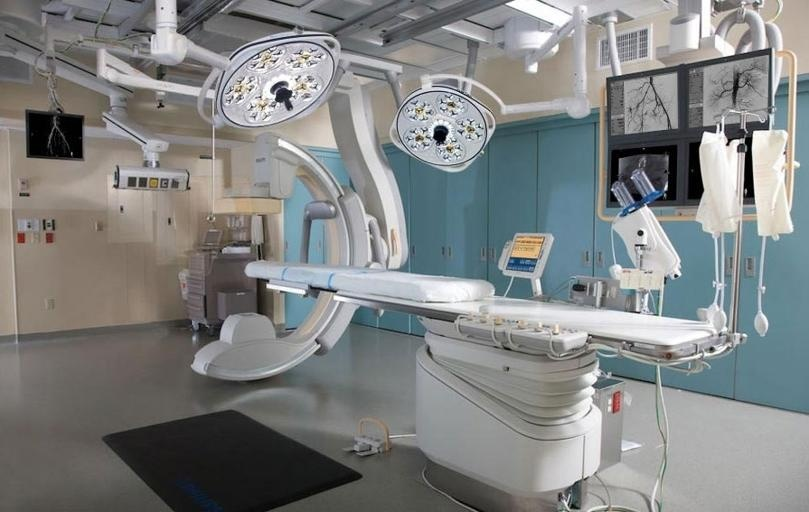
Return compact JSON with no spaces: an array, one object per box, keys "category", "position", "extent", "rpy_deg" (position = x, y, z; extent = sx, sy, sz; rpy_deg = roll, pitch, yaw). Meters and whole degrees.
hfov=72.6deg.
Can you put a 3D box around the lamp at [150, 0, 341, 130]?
[{"category":"lamp","position":[-1.046,-1.339,3.783],"extent":[1.275,0.892,0.675],"rpy_deg":[6,13,26]}]

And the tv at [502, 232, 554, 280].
[{"category":"tv","position":[1.102,-0.001,4.813],"extent":[0.209,0.483,0.539],"rpy_deg":[8,-1,-37]}]

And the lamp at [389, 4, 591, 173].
[{"category":"lamp","position":[0.660,-1.403,4.721],"extent":[1.553,1.296,0.856],"rpy_deg":[-2,12,-12]}]

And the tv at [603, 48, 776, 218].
[{"category":"tv","position":[2.105,-0.934,4.223],"extent":[1.133,1.162,0.163],"rpy_deg":[8,14,31]}]

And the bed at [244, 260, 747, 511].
[{"category":"bed","position":[0.495,0.884,4.829],"extent":[4.432,1.703,1.200],"rpy_deg":[1,2,38]}]

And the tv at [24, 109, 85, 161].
[{"category":"tv","position":[-3.893,-1.353,6.162],"extent":[0.736,0.687,0.075],"rpy_deg":[3,-5,-42]}]
